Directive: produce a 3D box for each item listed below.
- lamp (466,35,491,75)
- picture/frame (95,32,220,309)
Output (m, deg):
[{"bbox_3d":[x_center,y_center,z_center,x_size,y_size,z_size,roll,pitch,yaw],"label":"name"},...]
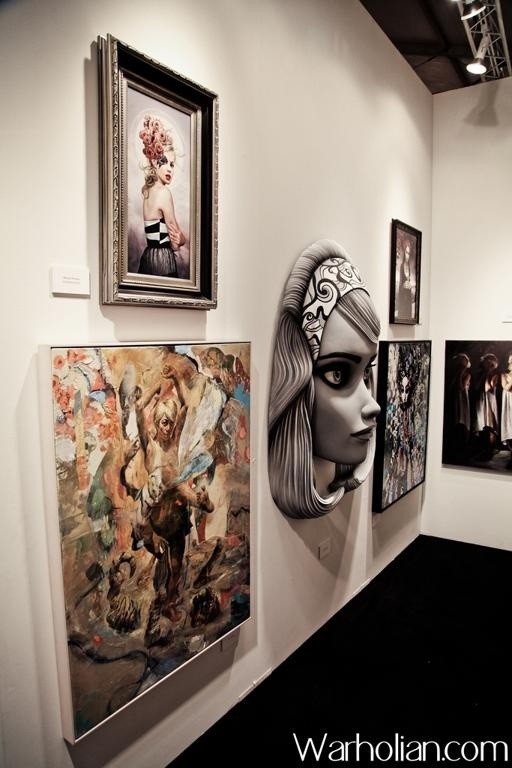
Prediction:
[{"bbox_3d":[1.193,-1.780,2.889,0.071,0.216,0.080,16,-15,23],"label":"lamp"},{"bbox_3d":[-0.250,-0.520,1.437,0.069,0.629,0.444,3,4,32],"label":"picture/frame"}]
